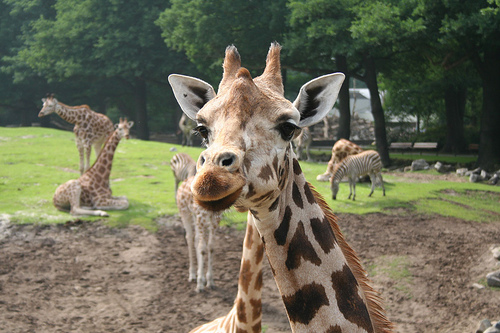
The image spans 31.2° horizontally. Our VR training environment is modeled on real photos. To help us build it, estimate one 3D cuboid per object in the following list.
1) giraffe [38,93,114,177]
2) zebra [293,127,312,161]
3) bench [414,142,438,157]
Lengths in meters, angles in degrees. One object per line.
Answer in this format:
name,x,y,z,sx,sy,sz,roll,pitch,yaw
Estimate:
giraffe,-5.558,-0.964,29.559,0.816,2.463,3.096,-12,-12,34
zebra,2.380,-1.124,37.949,0.315,1.003,1.248,23,-2,28
bench,6.266,-0.666,31.771,0.235,0.384,1.132,2,3,-28
